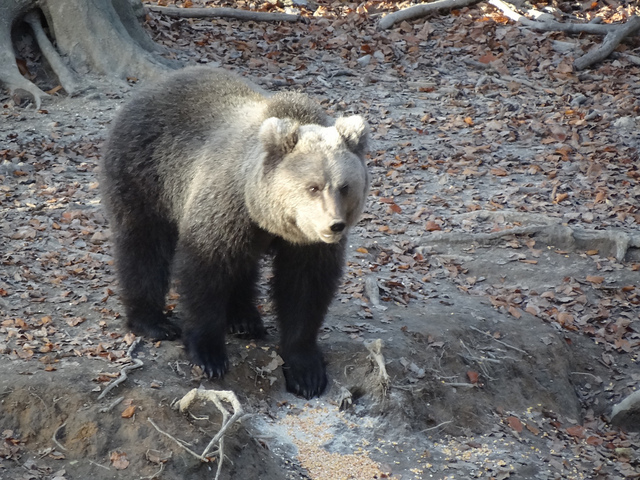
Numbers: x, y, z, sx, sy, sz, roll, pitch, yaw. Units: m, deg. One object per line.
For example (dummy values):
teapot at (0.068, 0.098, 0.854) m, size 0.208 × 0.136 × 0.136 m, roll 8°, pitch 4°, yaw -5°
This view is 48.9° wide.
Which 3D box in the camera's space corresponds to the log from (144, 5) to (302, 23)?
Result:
log at (-1.924, -4.533, 14.098) m, size 3.012 × 0.400 × 0.316 m, roll -7°, pitch 31°, yaw -15°
